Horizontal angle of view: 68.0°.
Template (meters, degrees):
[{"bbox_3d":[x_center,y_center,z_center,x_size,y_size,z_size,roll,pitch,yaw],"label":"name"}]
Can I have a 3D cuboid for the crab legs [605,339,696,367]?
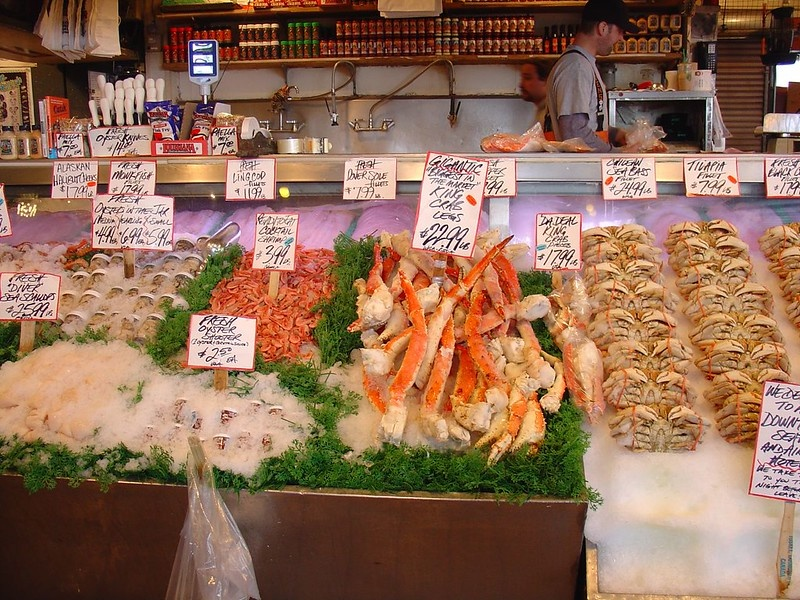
[{"bbox_3d":[0.926,0.208,2.271,0.229,0.126,0.075,-3,25,3],"label":"crab legs"}]

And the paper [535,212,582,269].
[{"bbox_3d":[0.663,-0.247,2.488,0.227,0.293,0.028,1,-5,5],"label":"paper"}]

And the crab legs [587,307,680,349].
[{"bbox_3d":[0.896,0.106,2.292,0.274,0.160,0.090,-3,-31,1],"label":"crab legs"}]

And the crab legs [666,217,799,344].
[{"bbox_3d":[1.280,-0.105,2.412,0.408,0.482,0.175,-2,-34,5],"label":"crab legs"}]

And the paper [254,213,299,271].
[{"bbox_3d":[-0.539,-0.254,2.572,0.238,0.282,0.022,4,-3,13],"label":"paper"}]

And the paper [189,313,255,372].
[{"bbox_3d":[-0.694,0.164,2.294,0.257,0.217,0.011,4,-4,9],"label":"paper"}]

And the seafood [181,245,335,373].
[{"bbox_3d":[-0.518,-0.027,2.549,0.403,0.195,0.559,5,43,16],"label":"seafood"}]

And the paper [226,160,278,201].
[{"bbox_3d":[-0.665,-0.545,2.656,0.174,0.135,0.012,-1,2,13],"label":"paper"}]

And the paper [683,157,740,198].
[{"bbox_3d":[1.307,-0.528,2.506,0.162,0.121,0.021,-1,2,3],"label":"paper"}]

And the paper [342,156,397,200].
[{"bbox_3d":[-0.130,-0.534,2.583,0.187,0.162,0.021,1,-8,11],"label":"paper"}]

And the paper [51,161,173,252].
[{"bbox_3d":[-1.324,-0.445,2.770,0.417,0.260,0.017,-4,-7,0],"label":"paper"}]
